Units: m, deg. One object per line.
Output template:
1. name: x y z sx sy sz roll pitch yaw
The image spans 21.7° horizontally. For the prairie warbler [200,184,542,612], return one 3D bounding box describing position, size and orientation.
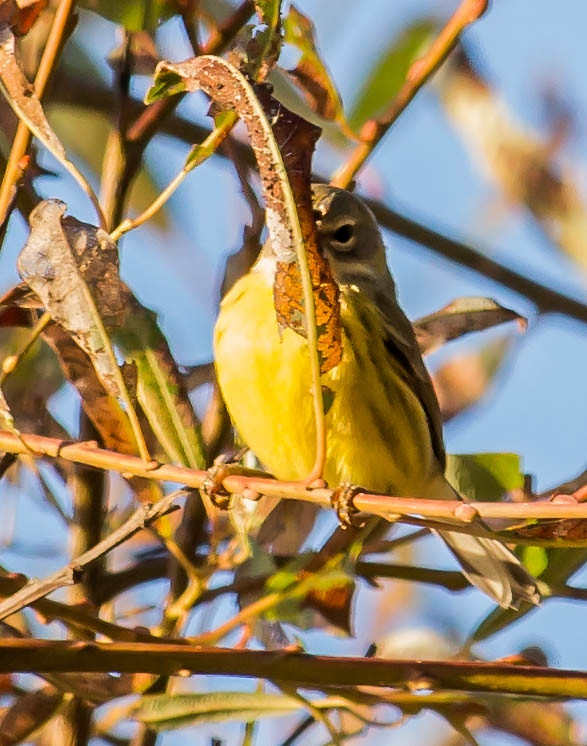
1. prairie warbler: 0.090 0.009 1.355 0.402 0.285 0.190 16 -4 -44
